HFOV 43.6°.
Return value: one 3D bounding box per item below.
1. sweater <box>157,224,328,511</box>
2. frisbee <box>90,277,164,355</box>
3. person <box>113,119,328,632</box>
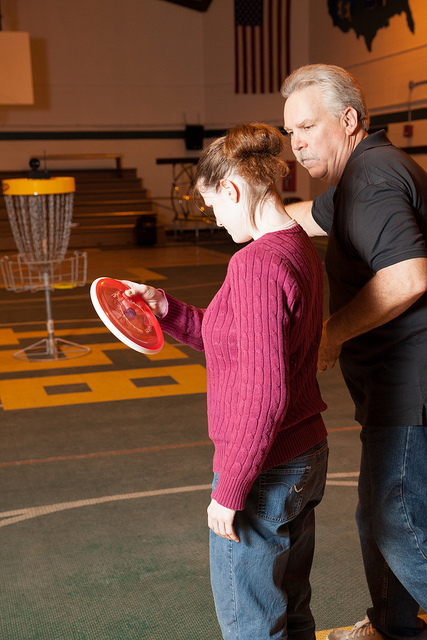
[{"bbox_3d":[0.055,0.094,1.052,0.356,0.490,0.341,-2,-3,-5],"label":"sweater"},{"bbox_3d":[-0.199,-0.002,1.276,0.210,0.193,0.174,-1,14,-18],"label":"frisbee"},{"bbox_3d":[0.085,0.179,1.031,0.282,1.085,0.305,2,11,8],"label":"person"}]
